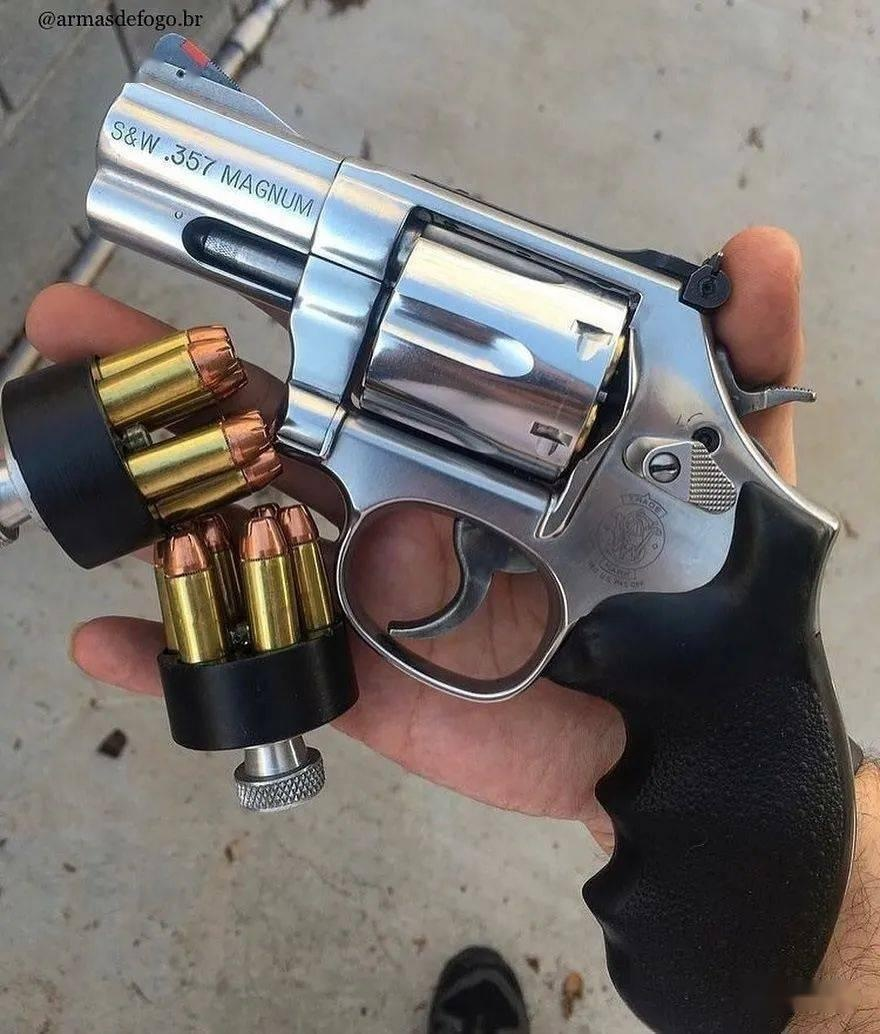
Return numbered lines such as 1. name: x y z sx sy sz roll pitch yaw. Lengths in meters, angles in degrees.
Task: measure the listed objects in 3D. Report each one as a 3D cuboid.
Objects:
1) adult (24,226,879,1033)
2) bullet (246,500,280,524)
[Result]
1. adult: -0.031 0.202 1.759 1.437 0.261 0.861 28 91 2
2. bullet: -0.249 -0.006 1.684 0.032 0.033 0.027 -1 100 31
